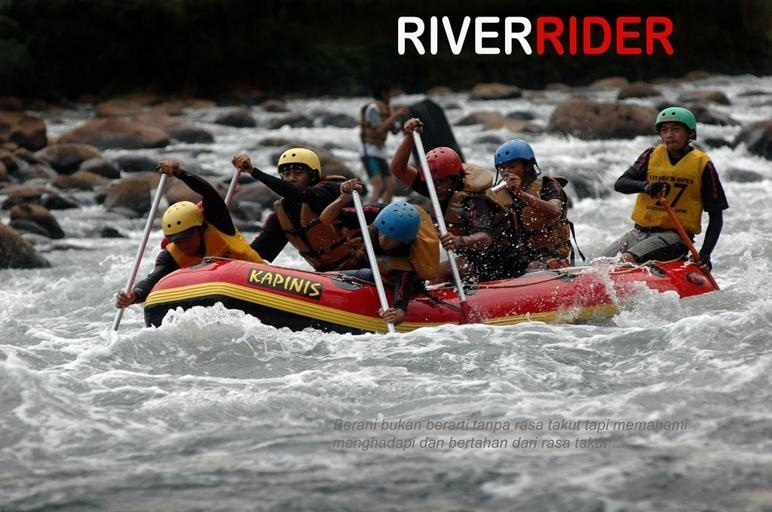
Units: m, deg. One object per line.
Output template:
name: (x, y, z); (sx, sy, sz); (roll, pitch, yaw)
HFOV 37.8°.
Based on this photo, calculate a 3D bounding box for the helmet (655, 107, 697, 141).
helmet: (3.638, -1.721, 14.751); (0.439, 0.285, 0.451); (2, -9, -4)

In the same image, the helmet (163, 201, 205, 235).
helmet: (-2.562, -0.477, 14.241); (0.540, 0.417, 0.313); (-8, 14, -14)

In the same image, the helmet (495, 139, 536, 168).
helmet: (1.671, -1.367, 14.872); (0.530, 0.249, 0.391); (-1, -5, -41)

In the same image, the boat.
boat: (0.359, 0.518, 14.039); (5.273, 0.622, 2.027); (1, -2, -14)

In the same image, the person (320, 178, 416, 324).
person: (-0.215, -0.054, 13.930); (0.442, 1.772, 1.079); (-32, 5, -7)
